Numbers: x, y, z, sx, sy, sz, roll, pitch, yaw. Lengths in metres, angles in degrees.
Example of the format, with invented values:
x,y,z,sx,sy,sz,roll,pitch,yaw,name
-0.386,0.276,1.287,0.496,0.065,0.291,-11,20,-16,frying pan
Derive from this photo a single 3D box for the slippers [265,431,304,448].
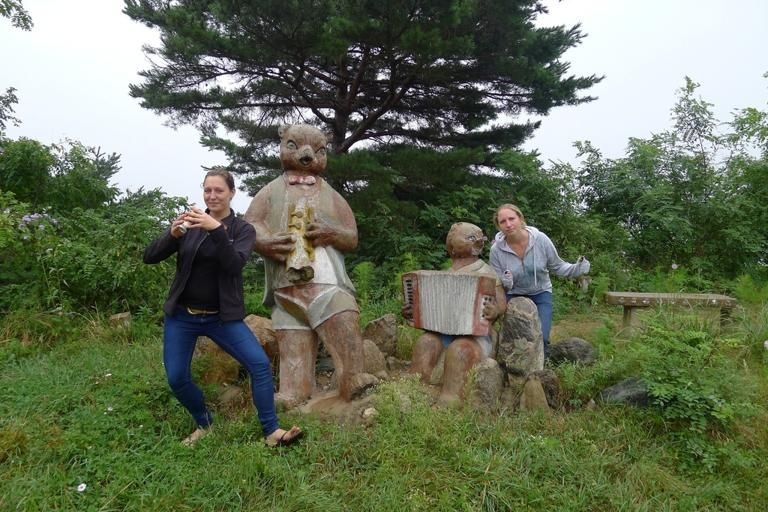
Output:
x,y,z,sx,sy,sz,roll,pitch,yaw,name
-1.030,1.867,4.891,0.229,0.112,0.071,-35,0,7,slippers

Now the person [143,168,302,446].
x,y,z,sx,sy,sz,roll,pitch,yaw,name
-1.719,0.519,4.929,1.380,2.903,0.609,2,0,-10,person

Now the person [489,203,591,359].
x,y,z,sx,sy,sz,roll,pitch,yaw,name
2.013,0.288,6.540,1.147,1.902,0.606,2,0,11,person
